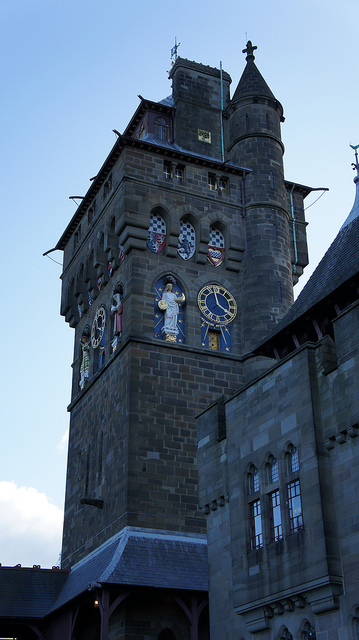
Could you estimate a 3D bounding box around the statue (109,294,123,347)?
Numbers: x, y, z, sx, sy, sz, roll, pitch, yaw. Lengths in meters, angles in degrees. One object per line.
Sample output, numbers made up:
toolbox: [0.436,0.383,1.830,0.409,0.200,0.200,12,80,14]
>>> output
statue: [-2.442,0.114,35.811,0.570,2.337,0.819,10,-36,-15]

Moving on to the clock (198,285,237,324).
clock: [1.448,-0.530,36.698,1.253,1.338,0.096,21,-40,-31]

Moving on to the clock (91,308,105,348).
clock: [-3.445,0.378,39.243,0.081,1.846,1.745,7,6,14]
